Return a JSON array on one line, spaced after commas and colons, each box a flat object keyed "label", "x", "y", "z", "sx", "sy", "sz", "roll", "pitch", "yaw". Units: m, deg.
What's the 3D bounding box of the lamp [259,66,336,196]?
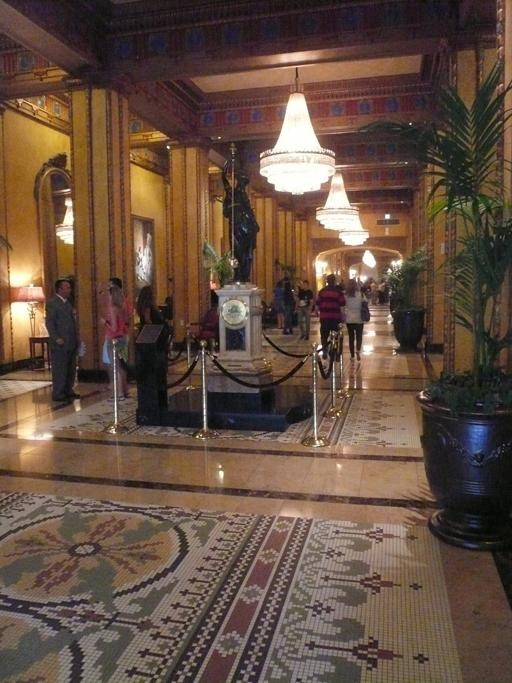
[{"label": "lamp", "x": 0.525, "y": -2.850, "z": 7.239, "sx": 0.988, "sy": 1.449, "sz": 0.968, "roll": -1, "pitch": 4, "yaw": 6}]

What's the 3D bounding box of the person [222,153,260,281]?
[{"label": "person", "x": -0.211, "y": -1.682, "z": 7.308, "sx": 0.465, "sy": 1.806, "sz": 0.878, "roll": -2, "pitch": 4, "yaw": -3}]
